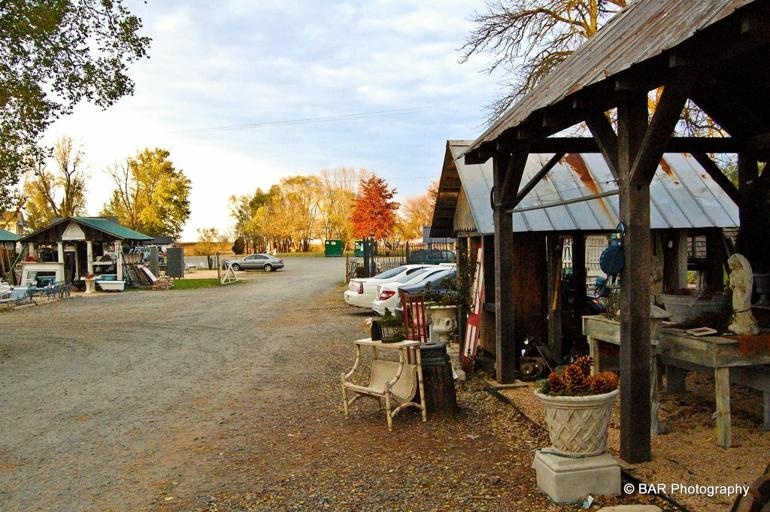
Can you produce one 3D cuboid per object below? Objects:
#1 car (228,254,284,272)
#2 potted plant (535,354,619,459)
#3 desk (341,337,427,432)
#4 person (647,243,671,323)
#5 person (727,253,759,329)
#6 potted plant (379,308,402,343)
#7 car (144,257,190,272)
[{"bbox_3d":[-10.142,0.581,45.577,4.198,1.205,1.615,3,1,15],"label":"car"},{"bbox_3d":[2.231,1.788,6.789,1.010,0.984,0.967,15,-20,-32],"label":"potted plant"},{"bbox_3d":[-0.098,1.973,9.157,1.184,1.551,1.715,4,-8,-40],"label":"desk"},{"bbox_3d":[5.057,0.413,10.577,0.248,1.088,0.117,0,-9,-8],"label":"person"},{"bbox_3d":[4.480,0.465,7.070,0.311,0.954,0.374,0,10,31],"label":"person"},{"bbox_3d":[0.118,1.127,9.139,0.421,0.508,0.426,-4,2,-9],"label":"potted plant"},{"bbox_3d":[-16.402,0.514,42.136,2.390,1.033,1.341,-2,-1,-3],"label":"car"}]
